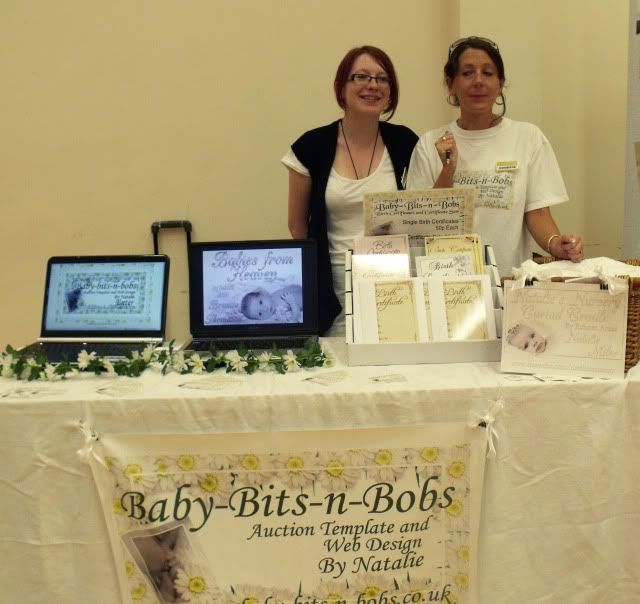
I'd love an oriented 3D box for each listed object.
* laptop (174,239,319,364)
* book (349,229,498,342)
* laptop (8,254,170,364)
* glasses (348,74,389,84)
[{"bbox_3d":[-0.225,-0.035,2.549,0.489,0.380,0.323,-1,-4,2],"label":"laptop"},{"bbox_3d":[0.259,-0.071,2.112,0.315,0.337,0.079,0,-26,1],"label":"book"},{"bbox_3d":[-0.704,0.006,2.558,0.398,0.256,0.334,0,8,3],"label":"laptop"},{"bbox_3d":[0.177,-0.795,2.861,0.143,0.039,0.046,-4,0,-8],"label":"glasses"}]
